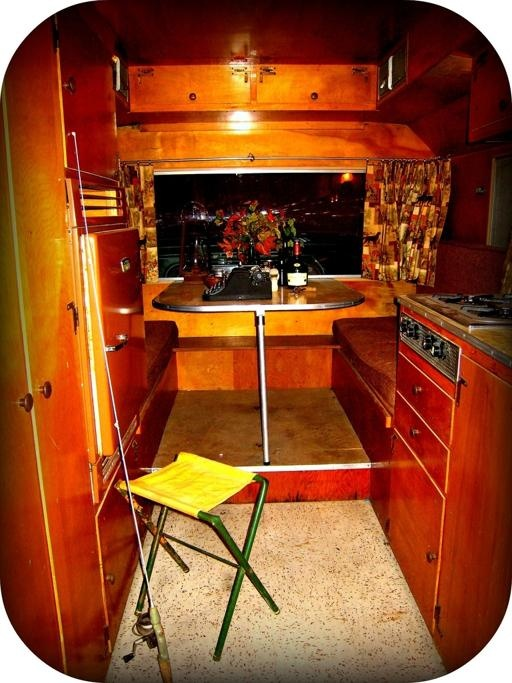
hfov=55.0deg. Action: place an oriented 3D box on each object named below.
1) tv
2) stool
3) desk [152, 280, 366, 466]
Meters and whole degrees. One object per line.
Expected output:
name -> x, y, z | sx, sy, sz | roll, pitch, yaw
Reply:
tv -> -0.013, -0.935, 3.745 | 1.156, 0.696, 0.050 | -2, 33, 0
stool -> -0.235, 0.643, 1.869 | 0.607, 0.772, 0.510 | 10, 15, 25
desk -> 0.020, 0.105, 3.023 | 1.193, 0.920, 1.198 | -2, 8, -5
